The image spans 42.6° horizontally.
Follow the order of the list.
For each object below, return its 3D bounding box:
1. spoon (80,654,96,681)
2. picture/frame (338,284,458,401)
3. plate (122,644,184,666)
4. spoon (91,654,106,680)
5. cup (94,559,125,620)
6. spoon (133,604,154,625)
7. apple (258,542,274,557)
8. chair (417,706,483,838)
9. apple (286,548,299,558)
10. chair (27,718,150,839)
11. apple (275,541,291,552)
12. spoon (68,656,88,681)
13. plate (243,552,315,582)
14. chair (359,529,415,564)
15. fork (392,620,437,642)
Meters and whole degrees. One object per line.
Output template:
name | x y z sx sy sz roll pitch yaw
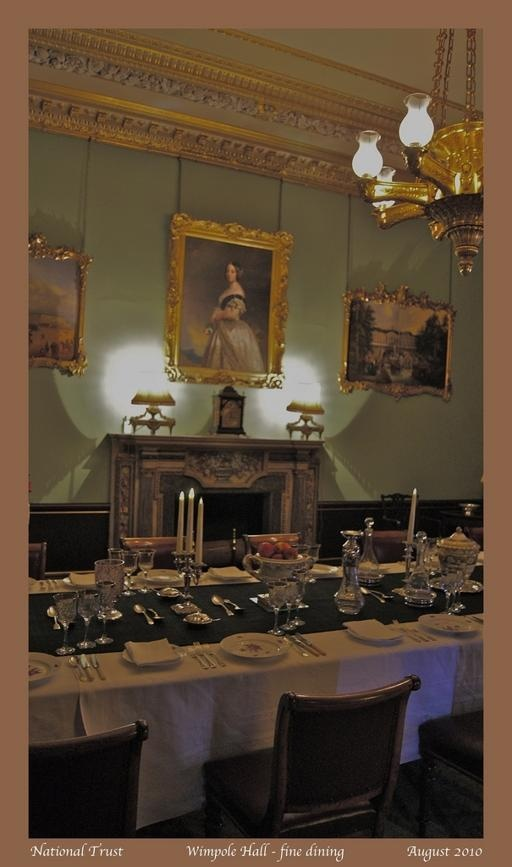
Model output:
spoon | -0.376 0.522 1.463 0.019 0.007 0.136 4 1 -17
picture/frame | 1.165 -0.785 5.619 0.973 0.907 0.052 2 1 -23
plate | -0.243 0.517 1.535 0.127 0.018 0.126 4 3 -17
spoon | -0.355 0.523 1.467 0.019 0.005 0.115 1 4 -14
cup | -0.400 0.430 1.787 0.081 0.145 0.085 -7 -9 -1
spoon | -0.323 0.518 1.901 0.027 0.018 0.149 -4 0 -12
apple | 0.029 0.352 1.996 0.040 0.050 0.040 1 -2 -3
chair | 0.509 0.931 1.771 0.157 0.272 0.269 6 3 18
apple | 0.109 0.363 1.993 0.028 0.029 0.035 -3 45 -3
chair | -0.263 0.611 1.176 0.152 0.201 0.164 6 -12 -11
apple | 0.087 0.356 2.039 0.027 0.034 0.027 -9 19 28
spoon | -0.388 0.520 1.465 0.023 0.018 0.128 -5 2 -16
plate | 0.041 0.418 2.040 0.155 0.069 0.117 -7 -10 31
chair | 0.623 0.530 3.162 0.187 0.236 0.189 1 0 -6
fork | 0.434 0.537 1.816 0.034 0.011 0.132 -2 1 -10
